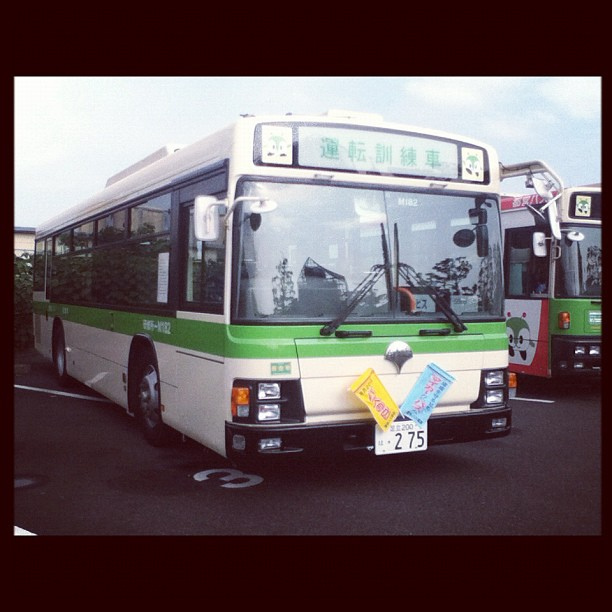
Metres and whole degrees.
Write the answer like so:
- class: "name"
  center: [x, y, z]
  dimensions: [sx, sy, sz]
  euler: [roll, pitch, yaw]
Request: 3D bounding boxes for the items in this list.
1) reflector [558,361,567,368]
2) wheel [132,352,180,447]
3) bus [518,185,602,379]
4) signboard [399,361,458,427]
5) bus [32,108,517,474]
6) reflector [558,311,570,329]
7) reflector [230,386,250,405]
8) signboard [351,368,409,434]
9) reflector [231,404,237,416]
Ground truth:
- class: "reflector"
  center: [4.380, 0.992, 9.100]
  dimensions: [0.024, 0.114, 0.098]
  euler: [9, -5, -43]
- class: "wheel"
  center: [-1.684, 0.872, 6.007]
  dimensions: [0.380, 0.466, 0.420]
  euler: [7, -36, -24]
- class: "bus"
  center: [4.445, -0.397, 9.372]
  dimensions: [1.324, 3.350, 1.074]
  euler: [3, 6, 28]
- class: "signboard"
  center: [1.033, 0.747, 4.449]
  dimensions: [0.381, 0.094, 0.695]
  euler: [-17, 33, 52]
- class: "bus"
  center: [-2.010, -0.288, 7.580]
  dimensions: [2.356, 3.259, 7.568]
  euler: [-2, 2, -38]
- class: "reflector"
  center: [4.400, 0.246, 9.112]
  dimensions: [0.184, 0.298, 0.041]
  euler: [4, 6, 31]
- class: "reflector"
  center: [-0.499, 0.674, 4.041]
  dimensions: [0.113, 0.141, 0.120]
  euler: [2, -3, -32]
- class: "signboard"
  center: [0.567, 0.766, 4.256]
  dimensions: [0.047, 0.447, 0.270]
  euler: [-11, 26, 51]
- class: "reflector"
  center: [-0.548, 0.786, 4.066]
  dimensions: [0.063, 0.097, 0.012]
  euler: [6, 8, 43]
